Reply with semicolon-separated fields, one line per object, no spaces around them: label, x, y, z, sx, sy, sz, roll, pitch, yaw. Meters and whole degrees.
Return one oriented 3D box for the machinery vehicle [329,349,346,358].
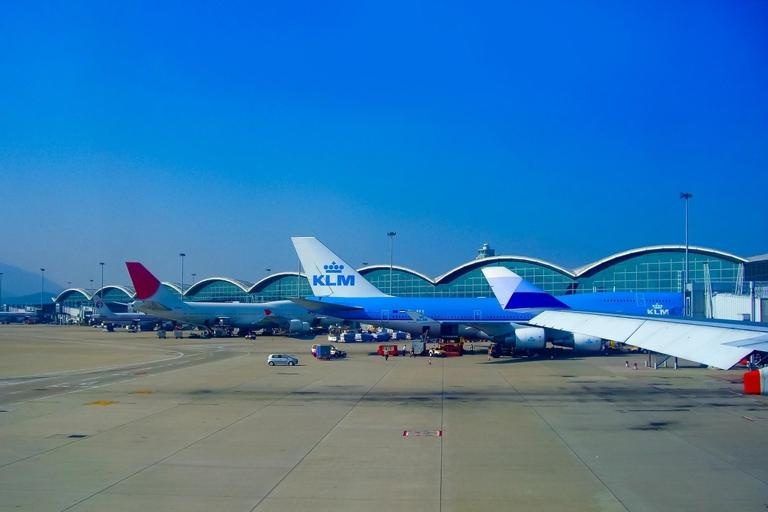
machinery vehicle;-3.565;7.612;59.805;1.179;0.398;0.662;3;-5;-12

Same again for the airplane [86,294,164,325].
airplane;-35.692;7.444;105.983;10.457;3.092;8.705;0;2;-4

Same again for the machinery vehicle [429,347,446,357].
machinery vehicle;4.135;7.499;59.848;1.213;0.633;1.366;1;-5;3

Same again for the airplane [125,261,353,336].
airplane;-15.716;5.181;86.447;24.645;5.350;16.530;4;-3;-14

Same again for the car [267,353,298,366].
car;-7.134;7.307;54.038;1.875;0.585;0.943;-1;-1;-1
